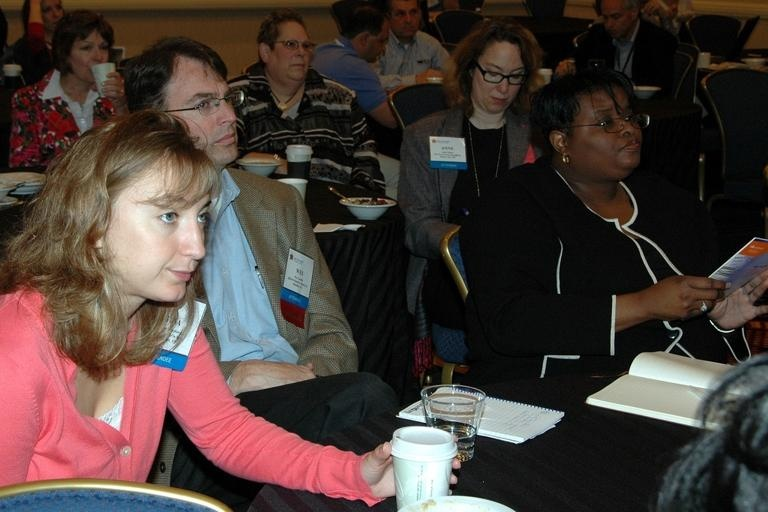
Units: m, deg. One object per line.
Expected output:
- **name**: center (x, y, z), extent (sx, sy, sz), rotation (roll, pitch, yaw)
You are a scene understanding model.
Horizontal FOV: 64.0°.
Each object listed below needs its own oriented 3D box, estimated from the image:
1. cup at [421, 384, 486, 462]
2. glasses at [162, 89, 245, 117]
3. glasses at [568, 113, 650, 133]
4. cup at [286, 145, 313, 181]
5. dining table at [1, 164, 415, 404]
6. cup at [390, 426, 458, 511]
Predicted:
- **cup**: center (0.166, 0.375, 1.344), extent (0.162, 0.138, 0.176), rotation (5, -22, 2)
- **glasses**: center (-0.620, -0.543, 2.163), extent (0.200, 0.053, 0.190), rotation (-1, 11, 34)
- **glasses**: center (0.816, -0.482, 2.260), extent (0.154, 0.036, 0.152), rotation (-4, 0, -38)
- **cup**: center (-0.468, -0.502, 3.303), extent (0.175, 0.174, 0.167), rotation (3, 16, -1)
- **dining table**: center (-0.343, 0.127, 2.900), extent (1.462, 0.778, 1.362), rotation (0, 1, 3)
- **cup**: center (0.055, 0.350, 1.083), extent (0.148, 0.134, 0.137), rotation (0, 9, 0)
